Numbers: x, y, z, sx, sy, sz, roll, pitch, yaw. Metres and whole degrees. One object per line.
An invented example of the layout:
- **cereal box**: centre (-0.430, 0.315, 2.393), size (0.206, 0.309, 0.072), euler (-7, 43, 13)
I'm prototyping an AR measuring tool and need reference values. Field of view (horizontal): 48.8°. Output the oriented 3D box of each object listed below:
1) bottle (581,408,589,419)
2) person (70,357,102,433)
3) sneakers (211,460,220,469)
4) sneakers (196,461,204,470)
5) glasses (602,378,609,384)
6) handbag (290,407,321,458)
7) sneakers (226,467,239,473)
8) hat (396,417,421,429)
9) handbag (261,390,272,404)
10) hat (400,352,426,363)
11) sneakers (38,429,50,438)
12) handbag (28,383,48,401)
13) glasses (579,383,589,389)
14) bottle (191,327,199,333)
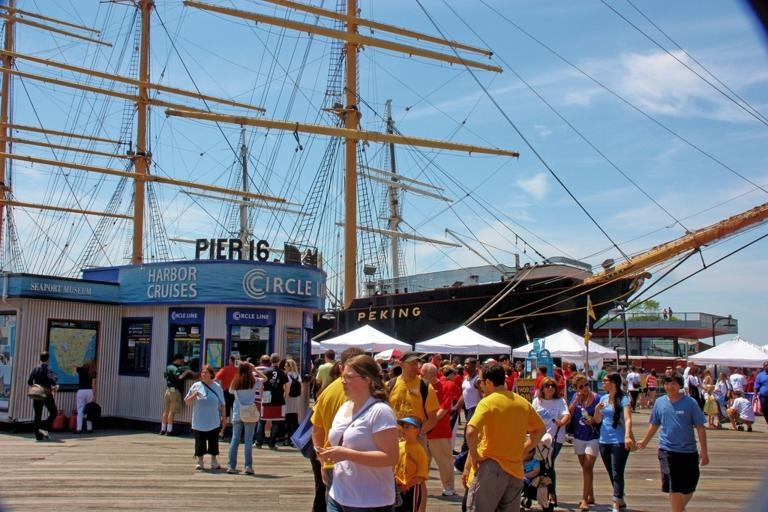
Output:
- **bottle**: centre (4.109, 3.237, 17.391), size (0.083, 0.204, 0.255), euler (2, 0, -34)
- **person**: centre (-8.317, 3.859, 23.589), size (0.517, 2.110, 0.655), euler (2, 0, -20)
- **sneakers**: centre (-3.849, 4.801, 19.491), size (0.289, 0.206, 0.111), euler (0, -3, -14)
- **sneakers**: centre (-4.240, 4.802, 19.443), size (0.114, 0.140, 0.314), euler (2, -4, -6)
- **glasses**: centre (4.472, 2.545, 17.199), size (0.083, 0.092, 0.108), euler (1, -12, -5)
- **handbag**: centre (-1.380, 3.092, 14.753), size (0.288, 0.762, 0.696), euler (13, -7, 3)
- **sneakers**: centre (-3.435, 4.843, 19.113), size (0.106, 0.121, 0.287), euler (2, -8, 9)
- **hat**: centre (0.405, 2.826, 14.463), size (0.384, 0.199, 0.287), euler (2, 0, 17)
- **handbag**: centre (-3.017, 3.592, 21.684), size (0.340, 0.373, 0.182), euler (2, 2, 0)
- **hat**: centre (0.498, 1.947, 16.453), size (0.349, 0.181, 0.501), euler (2, 0, 9)
- **sneakers**: centre (-8.939, 4.689, 22.288), size (0.145, 0.355, 0.117), euler (-44, -18, 24)
- **handbag**: centre (-9.008, 3.559, 22.060), size (0.412, 0.301, 0.395), euler (5, -9, -6)
- **glasses**: centre (4.143, 2.696, 17.567), size (0.278, 0.116, 0.099), euler (2, 0, -41)
- **bottle**: centre (-5.346, 2.081, 23.964), size (0.274, 0.197, 0.031), euler (2, 0, 15)
